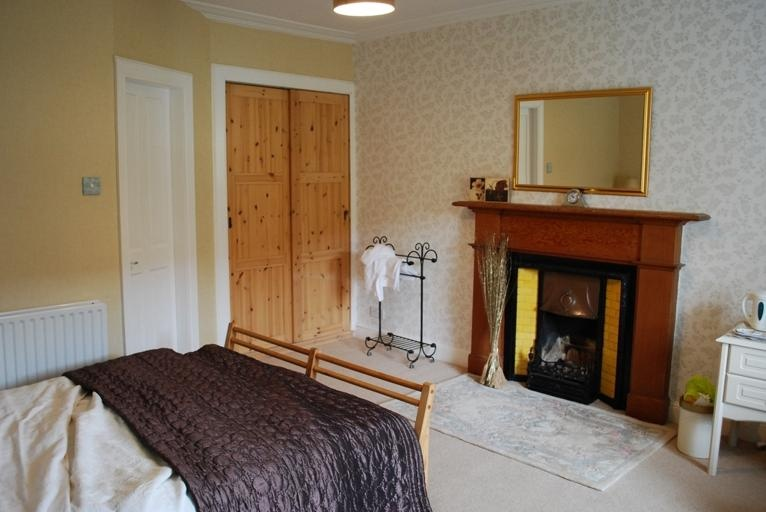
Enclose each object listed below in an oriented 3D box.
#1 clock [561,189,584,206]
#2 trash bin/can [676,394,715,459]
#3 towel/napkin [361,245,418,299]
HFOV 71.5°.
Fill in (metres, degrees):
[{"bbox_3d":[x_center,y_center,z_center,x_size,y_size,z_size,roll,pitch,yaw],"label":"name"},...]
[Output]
[{"bbox_3d":[1.827,-0.565,5.079,0.149,0.141,0.055,5,6,40],"label":"clock"},{"bbox_3d":[2.617,1.411,4.436,0.282,0.452,0.279,-1,5,-42],"label":"trash bin/can"},{"bbox_3d":[0.025,0.161,6.037,0.560,0.608,0.262,6,-2,26],"label":"towel/napkin"}]
